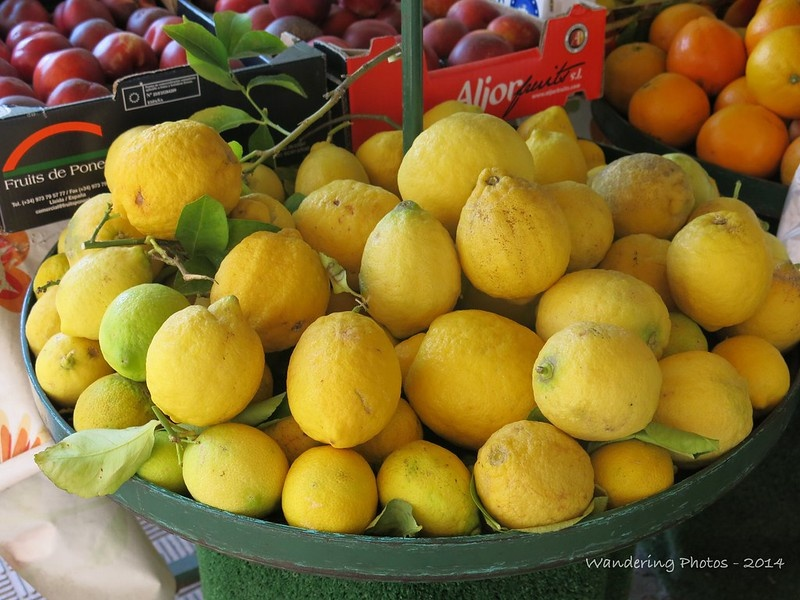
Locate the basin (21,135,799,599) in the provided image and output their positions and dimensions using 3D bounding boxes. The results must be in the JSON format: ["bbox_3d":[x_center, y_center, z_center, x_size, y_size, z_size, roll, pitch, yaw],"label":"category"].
[{"bbox_3d":[0.043,0.058,0.969,0.661,0.226,0.692,3,33,-2],"label":"basin"}]

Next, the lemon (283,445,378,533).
[{"bbox_3d":[-0.083,0.229,0.900,0.107,0.063,0.101,5,53,13],"label":"lemon"}]

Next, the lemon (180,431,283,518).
[{"bbox_3d":[-0.206,0.214,0.950,0.115,0.091,0.093,15,50,-6],"label":"lemon"}]

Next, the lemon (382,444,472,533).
[{"bbox_3d":[0.038,0.217,0.925,0.108,0.083,0.083,30,101,-2],"label":"lemon"}]

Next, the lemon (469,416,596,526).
[{"bbox_3d":[0.157,0.206,0.880,0.139,0.071,0.121,-5,52,5],"label":"lemon"}]

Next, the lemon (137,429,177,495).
[{"bbox_3d":[-0.294,0.199,0.935,0.064,0.064,0.078,-3,86,-25],"label":"lemon"}]
